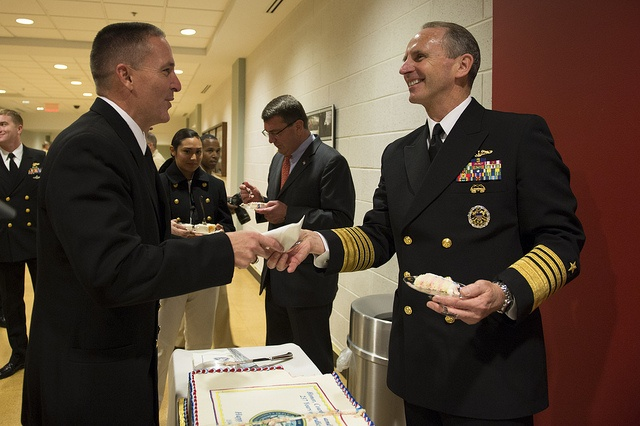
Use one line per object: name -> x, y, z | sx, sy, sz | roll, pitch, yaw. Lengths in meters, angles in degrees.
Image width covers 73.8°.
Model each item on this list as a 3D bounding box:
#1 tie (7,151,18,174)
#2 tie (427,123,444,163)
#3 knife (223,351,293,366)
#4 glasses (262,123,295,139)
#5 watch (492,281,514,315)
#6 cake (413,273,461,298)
tie -> -2.966, -0.476, 4.100 | 0.054, 0.201, 0.058 | -4, 5, -18
tie -> 0.515, -0.309, 1.886 | 0.047, 0.190, 0.055 | 6, -25, 29
knife -> -0.269, 0.612, 1.792 | 0.179, 0.022, 0.041 | 0, 7, -40
glasses -> -0.277, -0.564, 2.986 | 0.156, 0.046, 0.149 | -35, 22, -26
watch -> 0.664, 0.301, 1.537 | 0.037, 0.077, 0.102 | 13, 55, 13
cake -> 0.418, 0.264, 1.540 | 0.173, 0.061, 0.114 | 3, 8, 21
